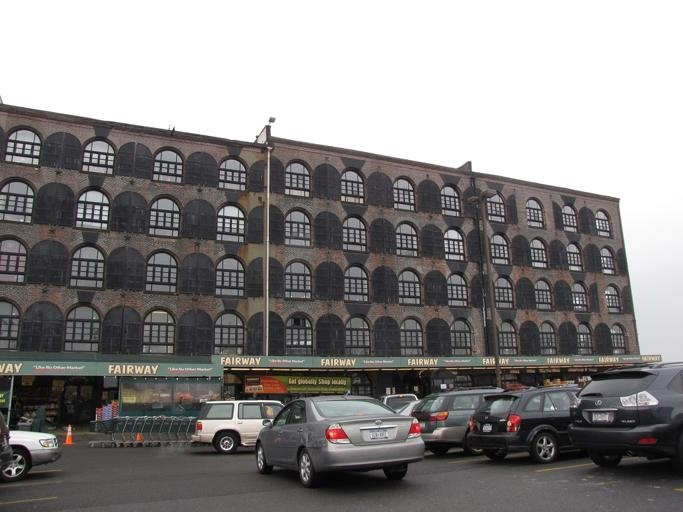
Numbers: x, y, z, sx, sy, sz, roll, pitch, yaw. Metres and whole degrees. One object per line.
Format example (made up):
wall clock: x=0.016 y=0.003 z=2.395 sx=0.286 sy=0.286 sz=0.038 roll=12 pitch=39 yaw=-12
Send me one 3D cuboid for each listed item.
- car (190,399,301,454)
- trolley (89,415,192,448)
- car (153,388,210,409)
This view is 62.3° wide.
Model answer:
car: x=-3.844 y=6.564 z=22.473 sx=3.668 sy=1.394 sz=1.982 roll=-1 pitch=-10 yaw=-11
trolley: x=-8.961 y=8.178 z=26.659 sx=4.213 sy=1.303 sz=2.261 roll=-1 pitch=-8 yaw=-15
car: x=-8.575 y=7.725 z=30.702 sx=2.301 sy=0.751 sz=1.100 roll=3 pitch=-13 yaw=-13
